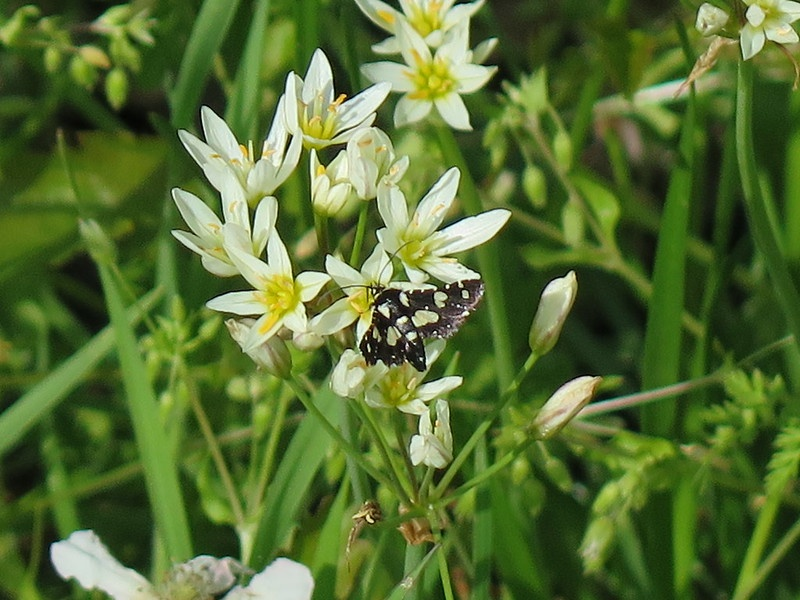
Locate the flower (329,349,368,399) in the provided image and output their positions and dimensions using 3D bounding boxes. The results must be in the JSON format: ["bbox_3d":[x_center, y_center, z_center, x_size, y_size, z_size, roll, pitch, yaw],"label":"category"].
[{"bbox_3d":[-0.069,0.103,1.243,0.048,0.054,0.077,8,73,-2],"label":"flower"}]

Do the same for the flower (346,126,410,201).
[{"bbox_3d":[-0.033,-0.194,1.297,0.088,0.081,0.075,-26,59,-23],"label":"flower"}]

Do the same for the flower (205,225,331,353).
[{"bbox_3d":[-0.180,-0.030,1.314,0.148,0.074,0.178,-44,81,13],"label":"flower"}]

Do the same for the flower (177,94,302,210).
[{"bbox_3d":[-0.220,-0.208,1.320,0.140,0.108,0.162,-26,51,-27],"label":"flower"}]

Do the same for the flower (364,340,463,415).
[{"bbox_3d":[0.012,0.122,1.298,0.100,0.052,0.119,22,59,16],"label":"flower"}]

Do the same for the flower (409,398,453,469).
[{"bbox_3d":[0.053,0.181,1.301,0.049,0.065,0.109,24,45,-18],"label":"flower"}]
